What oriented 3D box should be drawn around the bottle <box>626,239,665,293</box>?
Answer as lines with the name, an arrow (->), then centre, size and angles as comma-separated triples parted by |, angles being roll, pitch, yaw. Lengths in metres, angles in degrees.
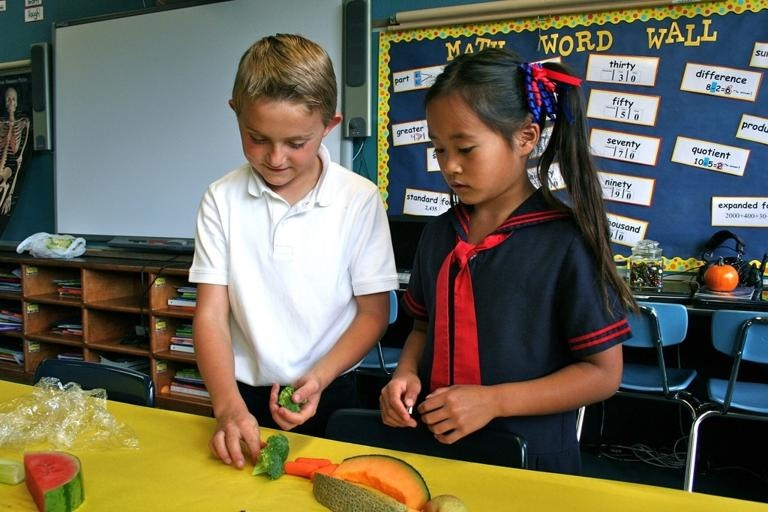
bottle -> 1.400, 0.043, 3.031 | 0.198, 0.257, 0.193 | -2, 10, 0

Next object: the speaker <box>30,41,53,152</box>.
speaker -> -2.648, -1.224, 4.349 | 0.183, 0.798, 0.057 | 5, 7, 20

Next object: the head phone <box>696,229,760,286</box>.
head phone -> 1.807, 0.008, 2.951 | 0.296, 0.271, 0.172 | -3, -5, 32

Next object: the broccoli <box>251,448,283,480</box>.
broccoli -> -0.288, 0.524, 1.460 | 0.075, 0.075, 0.076 | -20, -35, 3

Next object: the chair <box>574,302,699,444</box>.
chair -> 1.279, 0.654, 2.885 | 0.591, 0.896, 0.638 | 1, -2, 37

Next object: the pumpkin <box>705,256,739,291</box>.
pumpkin -> 1.704, 0.093, 2.851 | 0.158, 0.158, 0.155 | -1, 8, 19
